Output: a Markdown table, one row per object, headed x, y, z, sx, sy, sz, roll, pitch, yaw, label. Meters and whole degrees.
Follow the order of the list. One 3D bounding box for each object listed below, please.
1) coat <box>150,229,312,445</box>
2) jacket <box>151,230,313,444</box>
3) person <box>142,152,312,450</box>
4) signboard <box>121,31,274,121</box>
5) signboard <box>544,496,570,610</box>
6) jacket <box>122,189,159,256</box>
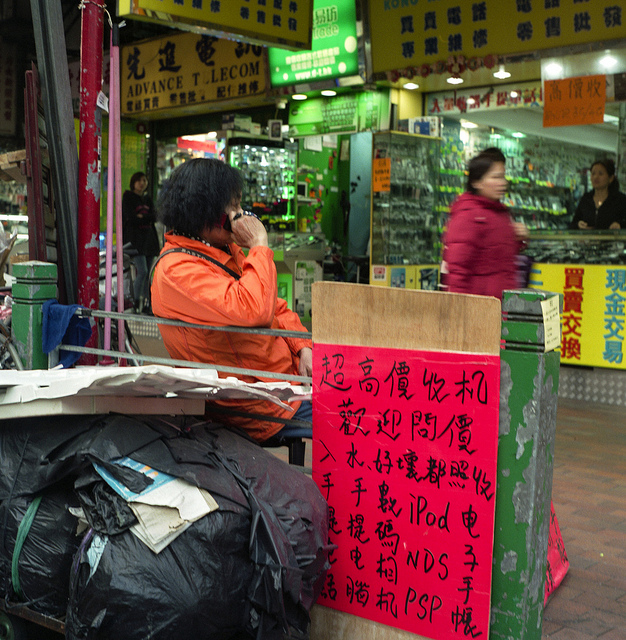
| x | y | z | sx | sy | sz | roll | pitch | yaw | label |
| --- | --- | --- | --- | --- | --- | --- | --- | --- | --- |
| -0.325 | -0.009 | 2.643 | 0.435 | 0.887 | 0.625 | -8 | 14 | 14 | coat |
| -0.307 | 0.020 | 2.673 | 0.485 | 0.952 | 0.691 | -7 | 11 | 15 | jacket |
| -0.330 | 0.022 | 2.691 | 0.532 | 1.381 | 0.582 | -4 | 39 | -17 | person |
| -1.724 | -3.587 | 9.866 | 2.208 | 1.232 | 0.451 | -9 | -11 | -2 | signboard |
| 1.029 | 0.932 | 2.780 | 0.083 | 0.415 | 0.534 | 4 | 7 | 23 | signboard |
| -2.675 | -1.494 | 10.383 | 0.564 | 0.981 | 0.683 | 0 | 7 | -18 | jacket |
